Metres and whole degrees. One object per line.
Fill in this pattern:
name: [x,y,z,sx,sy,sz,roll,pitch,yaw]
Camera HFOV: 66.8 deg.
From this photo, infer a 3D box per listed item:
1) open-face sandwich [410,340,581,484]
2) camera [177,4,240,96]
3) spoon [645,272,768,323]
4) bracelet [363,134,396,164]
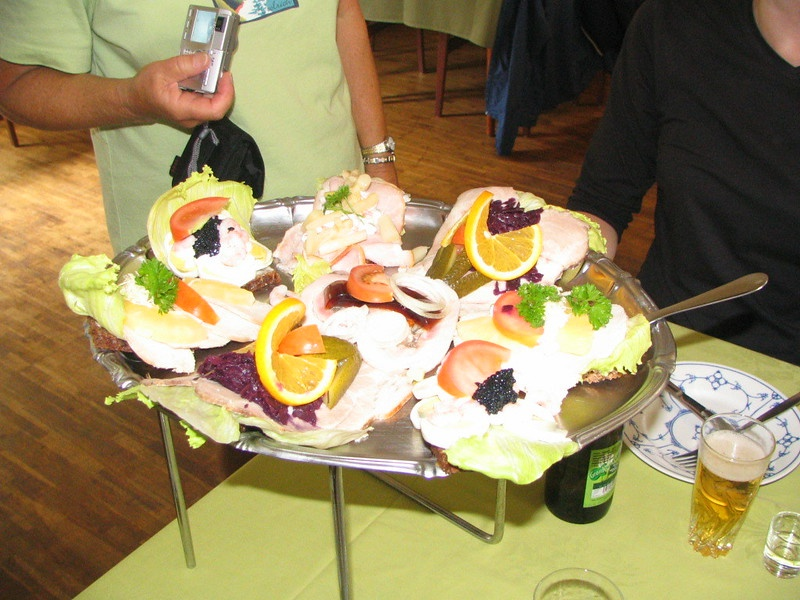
open-face sandwich: [0.156,0.175,1.003,0.273,0.086,0.268,10,45,9]
camera: [-0.442,-0.600,1.447,0.151,0.205,0.059,12,6,20]
spoon: [0.818,-0.003,1.585,0.042,0.358,0.058,6,67,-43]
bracelet: [-0.060,-0.491,2.001,0.099,0.061,0.091,-9,3,33]
